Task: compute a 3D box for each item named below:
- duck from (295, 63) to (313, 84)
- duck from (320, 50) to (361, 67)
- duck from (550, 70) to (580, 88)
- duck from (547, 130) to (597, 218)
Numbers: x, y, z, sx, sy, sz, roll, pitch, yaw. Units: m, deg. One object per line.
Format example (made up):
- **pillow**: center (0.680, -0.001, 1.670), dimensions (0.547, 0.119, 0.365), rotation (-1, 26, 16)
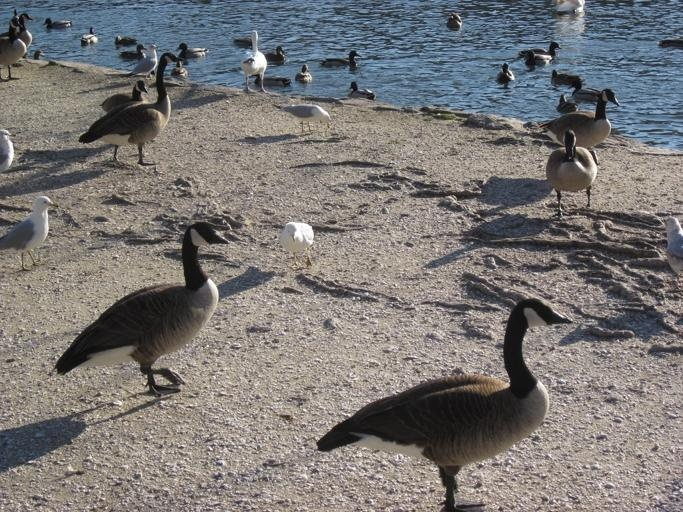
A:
- **duck**: center (-1.259, -5.495, 34.097), dimensions (0.488, 0.498, 0.915), rotation (0, 29, 14)
- **duck**: center (-0.060, -6.192, 35.577), dimensions (1.389, 0.598, 0.583), rotation (-2, 31, 8)
- **duck**: center (6.464, -5.115, 32.330), dimensions (1.123, 0.547, 0.634), rotation (12, 23, 44)
- **duck**: center (4.221, -1.485, 20.235), dimensions (0.895, 1.501, 0.779), rotation (-3, 24, -7)
